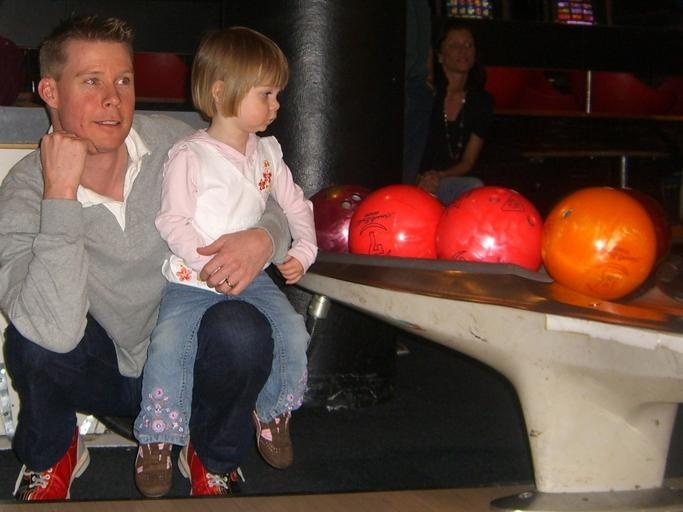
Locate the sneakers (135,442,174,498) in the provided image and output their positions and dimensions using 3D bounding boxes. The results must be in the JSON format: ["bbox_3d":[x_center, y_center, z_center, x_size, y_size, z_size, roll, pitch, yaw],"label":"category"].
[{"bbox_3d":[-0.435,0.491,1.347,0.081,0.118,0.071,-1,9,-7],"label":"sneakers"}]

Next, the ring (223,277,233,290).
[{"bbox_3d":[-0.274,0.063,1.408,0.018,0.005,0.019,31,-17,11],"label":"ring"}]

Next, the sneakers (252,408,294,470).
[{"bbox_3d":[-0.157,0.444,1.484,0.062,0.072,0.168,17,37,-59],"label":"sneakers"}]

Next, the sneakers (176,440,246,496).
[{"bbox_3d":[-0.339,0.556,1.474,0.085,0.092,0.229,31,8,-44],"label":"sneakers"}]
